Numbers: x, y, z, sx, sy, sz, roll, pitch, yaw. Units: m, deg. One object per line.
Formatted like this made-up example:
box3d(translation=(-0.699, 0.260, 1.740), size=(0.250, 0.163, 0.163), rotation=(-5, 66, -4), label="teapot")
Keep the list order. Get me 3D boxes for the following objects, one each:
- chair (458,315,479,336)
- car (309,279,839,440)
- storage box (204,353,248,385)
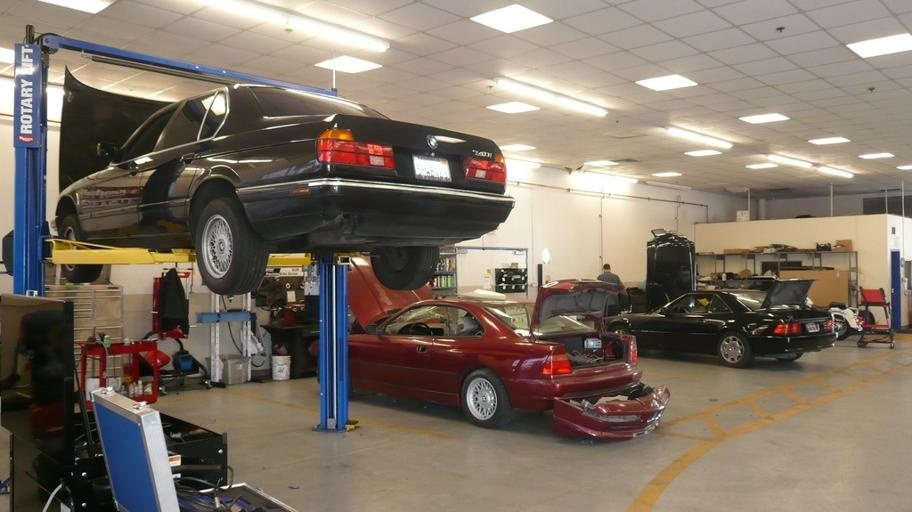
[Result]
box3d(translation=(0.207, 1.144, 9.562), size=(0.241, 0.178, 0.370), rotation=(-10, -7, 4), label="chair")
box3d(translation=(0.605, 1.522, 9.852), size=(5.186, 1.122, 2.624), rotation=(1, -1, 35), label="car")
box3d(translation=(-4.925, 2.436, 12.748), size=(0.799, 0.462, 0.693), rotation=(1, -2, -25), label="storage box")
